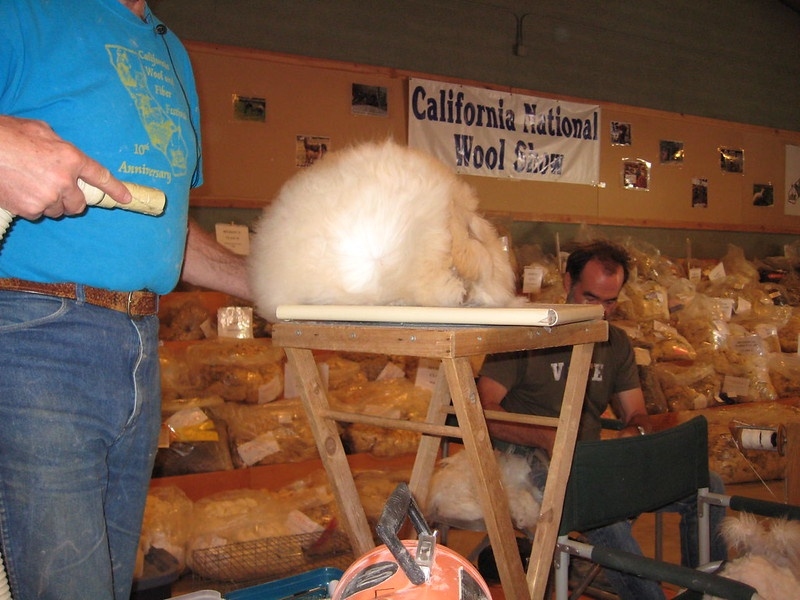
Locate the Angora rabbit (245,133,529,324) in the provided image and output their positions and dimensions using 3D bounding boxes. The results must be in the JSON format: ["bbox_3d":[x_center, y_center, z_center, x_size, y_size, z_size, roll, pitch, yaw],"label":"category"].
[{"bbox_3d":[-0.054,-0.105,1.627,0.651,0.521,0.485,1,36,-7],"label":"Angora rabbit"}]

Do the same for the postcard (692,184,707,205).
[{"bbox_3d":[2.422,-0.860,5.396,0.157,0.183,0.026,-10,6,-39],"label":"postcard"}]

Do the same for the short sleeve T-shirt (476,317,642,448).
[{"bbox_3d":[0.474,0.259,2.023,0.401,0.385,0.223,15,5,2],"label":"short sleeve T-shirt"}]

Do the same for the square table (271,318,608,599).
[{"bbox_3d":[0.053,0.246,1.671,0.683,0.804,0.758,-7,7,-44],"label":"square table"}]

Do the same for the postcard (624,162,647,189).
[{"bbox_3d":[1.788,-0.953,5.070,0.201,0.189,0.114,5,-8,-35],"label":"postcard"}]
